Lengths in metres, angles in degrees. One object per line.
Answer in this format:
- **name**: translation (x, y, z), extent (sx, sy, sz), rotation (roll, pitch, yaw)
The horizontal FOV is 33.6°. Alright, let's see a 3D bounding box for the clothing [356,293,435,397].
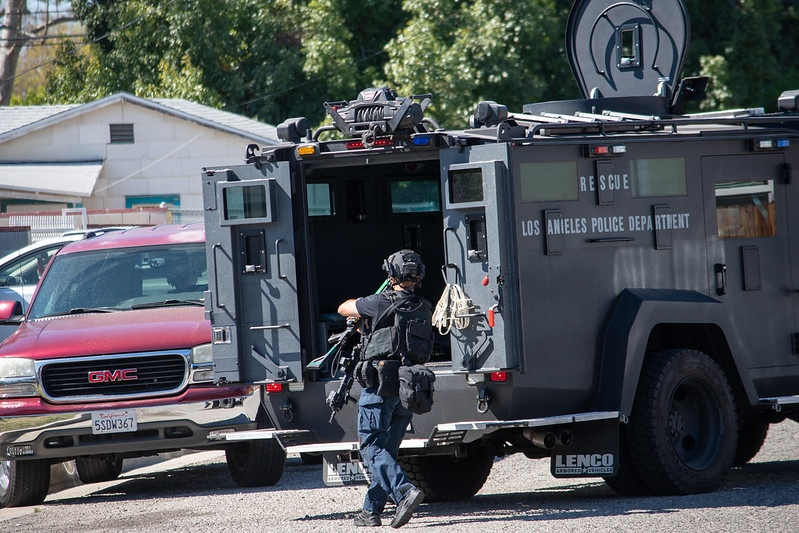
- **clothing**: translation (-0.042, 0.876, 14.582), extent (0.991, 1.152, 0.693), rotation (7, -9, -40)

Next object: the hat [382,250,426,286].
- **hat**: translation (0.059, -0.015, 14.860), extent (0.360, 0.374, 0.398), rotation (4, 11, -24)

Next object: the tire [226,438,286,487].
- **tire**: translation (-1.789, 2.440, 16.610), extent (0.299, 0.848, 0.839), rotation (-5, 3, -43)

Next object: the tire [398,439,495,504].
- **tire**: translation (0.505, 2.386, 15.497), extent (0.843, 0.846, 0.274), rotation (-6, 11, -28)

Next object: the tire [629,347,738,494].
- **tire**: translation (3.285, 1.830, 15.466), extent (1.734, 1.731, 0.559), rotation (-10, 1, -45)

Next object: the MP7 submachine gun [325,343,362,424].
- **MP7 submachine gun**: translation (-0.634, 1.379, 15.176), extent (0.404, 0.911, 0.162), rotation (5, -14, 32)

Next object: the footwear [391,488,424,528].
- **footwear**: translation (0.053, 2.632, 14.363), extent (0.262, 0.582, 0.198), rotation (11, 38, -31)

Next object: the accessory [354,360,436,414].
- **accessory**: translation (-0.057, 1.306, 14.521), extent (0.790, 0.383, 0.485), rotation (8, -2, 35)

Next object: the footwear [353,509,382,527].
- **footwear**: translation (-0.343, 2.784, 14.661), extent (0.307, 0.222, 0.138), rotation (3, -5, 24)

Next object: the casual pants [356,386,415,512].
- **casual pants**: translation (-0.137, 1.989, 14.730), extent (0.637, 1.568, 0.803), rotation (-3, -22, 7)
